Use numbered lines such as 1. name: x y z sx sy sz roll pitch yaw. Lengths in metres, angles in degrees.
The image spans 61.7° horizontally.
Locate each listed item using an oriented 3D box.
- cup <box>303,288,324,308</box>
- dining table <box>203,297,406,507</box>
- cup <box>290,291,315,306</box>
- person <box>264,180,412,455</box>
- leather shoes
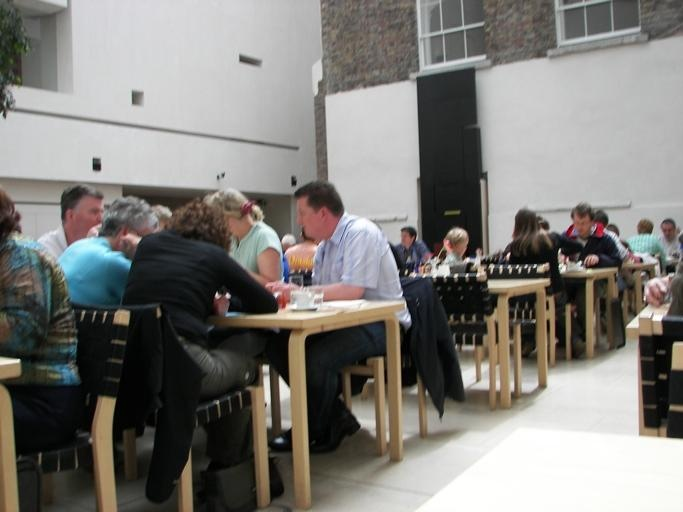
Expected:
1. cup: -0.134 0.200 2.724 0.068 0.074 0.088 -5 -10 44
2. dining table: -0.183 0.629 2.958 0.813 0.835 0.837 -3 -2 36
3. cup: -0.174 0.209 2.730 0.077 0.065 0.079 1 -5 0
4. person: -0.026 0.344 3.390 0.728 1.517 0.589 -1 -2 -21
5. leather shoes: -0.124 0.992 3.377 0.572 0.302 0.201 1 -7 -34
